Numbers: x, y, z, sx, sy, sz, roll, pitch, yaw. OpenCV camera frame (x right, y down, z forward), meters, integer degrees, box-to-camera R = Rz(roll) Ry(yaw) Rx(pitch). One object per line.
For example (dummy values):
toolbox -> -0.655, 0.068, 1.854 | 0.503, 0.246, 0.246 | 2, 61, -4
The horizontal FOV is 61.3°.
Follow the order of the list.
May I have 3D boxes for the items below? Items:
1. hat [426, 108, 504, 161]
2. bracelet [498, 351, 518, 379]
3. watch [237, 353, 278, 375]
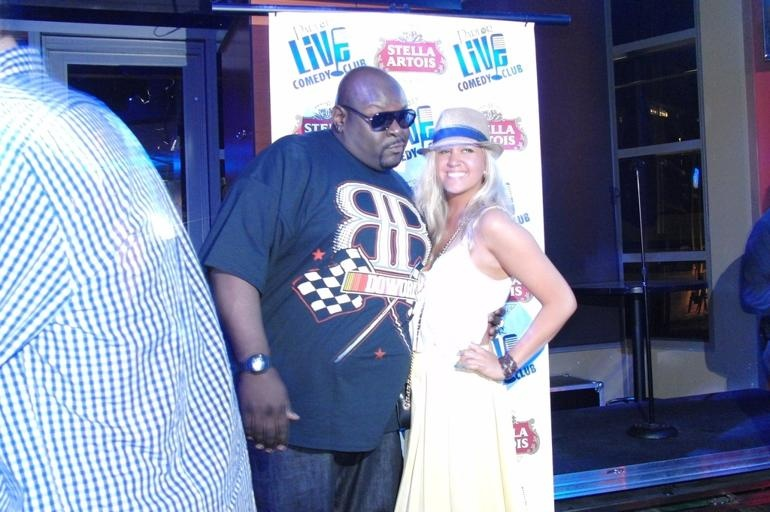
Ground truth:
hat -> 0.297, -0.498, 2.630 | 0.319, 0.175, 0.316 | 0, -3, 18
bracelet -> 0.449, 0.402, 2.358 | 0.077, 0.072, 0.090 | 18, 25, 2
watch -> -0.373, 0.315, 1.885 | 0.067, 0.039, 0.063 | -4, 2, -31
